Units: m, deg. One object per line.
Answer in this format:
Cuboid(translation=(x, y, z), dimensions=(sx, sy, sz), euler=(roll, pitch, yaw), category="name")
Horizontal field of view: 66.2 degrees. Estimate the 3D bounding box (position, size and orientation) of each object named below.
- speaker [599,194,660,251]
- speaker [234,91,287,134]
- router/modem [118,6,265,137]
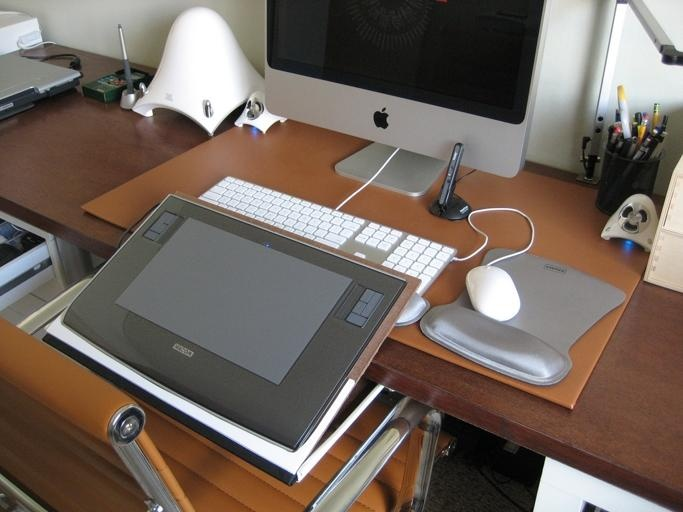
Cuboid(translation=(0.571, -0.080, 1.026), dimensions=(0.094, 0.058, 0.125), euler=(14, 59, 29), category="speaker")
Cuboid(translation=(-0.218, -0.373, 1.431), dimensions=(0.113, 0.092, 0.116), euler=(25, 46, 25), category="speaker")
Cuboid(translation=(-0.379, -0.509, 1.516), dimensions=(0.342, 0.301, 0.346), euler=(30, 52, 15), category="router/modem")
